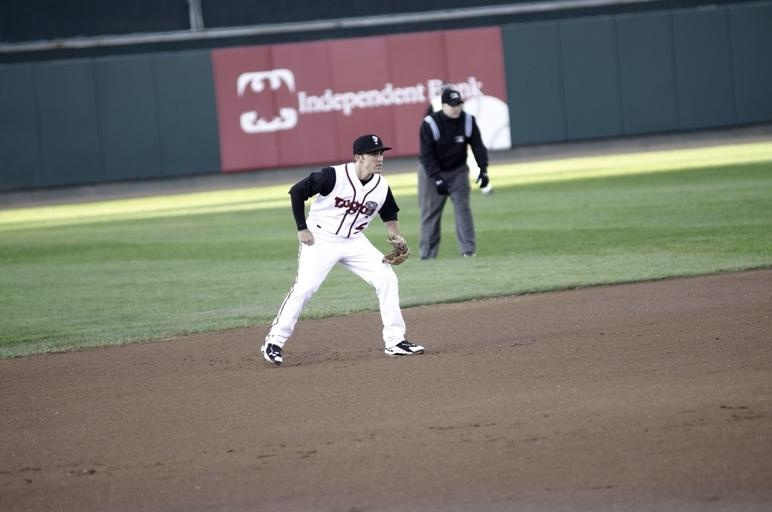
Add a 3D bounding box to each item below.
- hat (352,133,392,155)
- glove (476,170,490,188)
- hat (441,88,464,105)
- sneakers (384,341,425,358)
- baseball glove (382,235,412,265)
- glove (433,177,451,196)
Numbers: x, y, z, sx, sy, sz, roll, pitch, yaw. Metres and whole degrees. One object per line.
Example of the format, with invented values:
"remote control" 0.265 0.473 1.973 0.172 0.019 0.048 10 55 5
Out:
"hat" -0.138 -1.106 12.193 0.316 0.199 0.230 -7 2 22
"glove" 1.186 -0.935 14.922 0.134 0.250 0.364 -3 10 5
"hat" 0.776 -1.886 14.461 0.170 0.154 0.253 -2 11 -23
"sneakers" 0.194 0.955 12.430 0.390 0.190 0.162 -2 -1 4
"baseball glove" 0.126 -0.065 12.643 0.243 0.319 0.137 -2 17 0
"glove" 0.677 -0.828 14.663 0.163 0.243 0.379 -3 10 3
